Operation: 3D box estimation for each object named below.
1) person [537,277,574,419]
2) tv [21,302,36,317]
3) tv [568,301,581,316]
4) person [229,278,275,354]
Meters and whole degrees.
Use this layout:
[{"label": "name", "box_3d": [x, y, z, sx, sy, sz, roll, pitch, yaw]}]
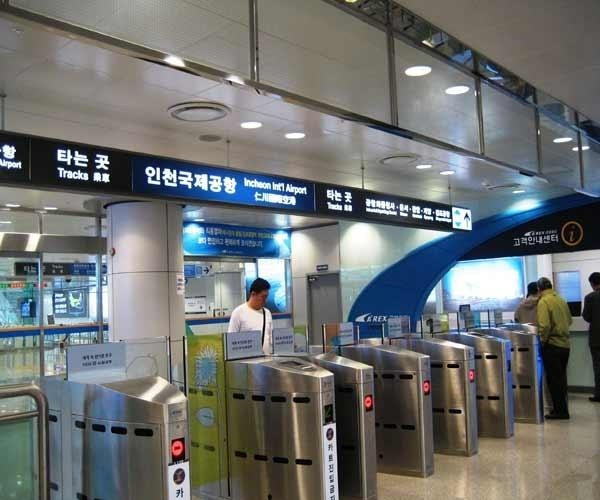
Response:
[{"label": "person", "box_3d": [3.501, 1.326, 7.043, 0.387, 1.905, 0.598, -5, -6, 36]}, {"label": "tv", "box_3d": [-3.677, 0.805, 6.896, 0.175, 0.185, 0.089, -4, -5, -41]}, {"label": "tv", "box_3d": [4.508, 0.966, 8.375, 0.104, 0.202, 0.196, 13, -2, -17]}, {"label": "person", "box_3d": [-0.473, 0.674, 5.227, 0.347, 0.746, 0.491, -5, -7, 35]}]
